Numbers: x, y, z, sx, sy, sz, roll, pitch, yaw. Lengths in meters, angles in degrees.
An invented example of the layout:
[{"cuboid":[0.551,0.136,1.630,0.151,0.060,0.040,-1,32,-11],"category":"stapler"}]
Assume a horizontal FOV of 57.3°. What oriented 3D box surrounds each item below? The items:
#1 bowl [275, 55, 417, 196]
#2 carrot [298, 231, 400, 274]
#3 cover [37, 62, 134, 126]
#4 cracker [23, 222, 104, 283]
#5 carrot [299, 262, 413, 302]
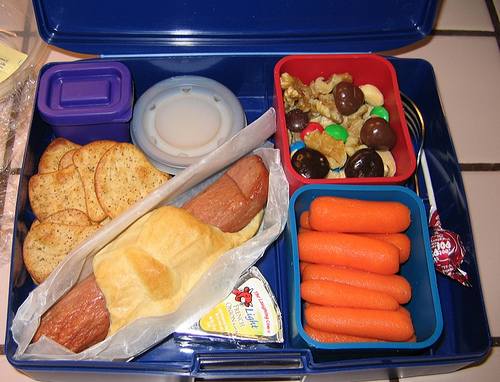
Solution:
[{"cuboid":[0.295,-0.204,1.484,0.429,0.173,0.498,1,73,-2],"category":"bowl"},{"cuboid":[0.290,0.171,1.369,0.318,0.119,0.138,7,81,5],"category":"carrot"},{"cuboid":[-0.537,-0.331,1.510,0.296,0.051,0.215,-3,74,-3],"category":"cover"},{"cuboid":[-0.580,0.155,1.450,0.267,0.039,0.161,-35,78,-31],"category":"cracker"},{"cuboid":[0.324,0.274,1.342,0.338,0.124,0.107,6,23,-9],"category":"carrot"}]
